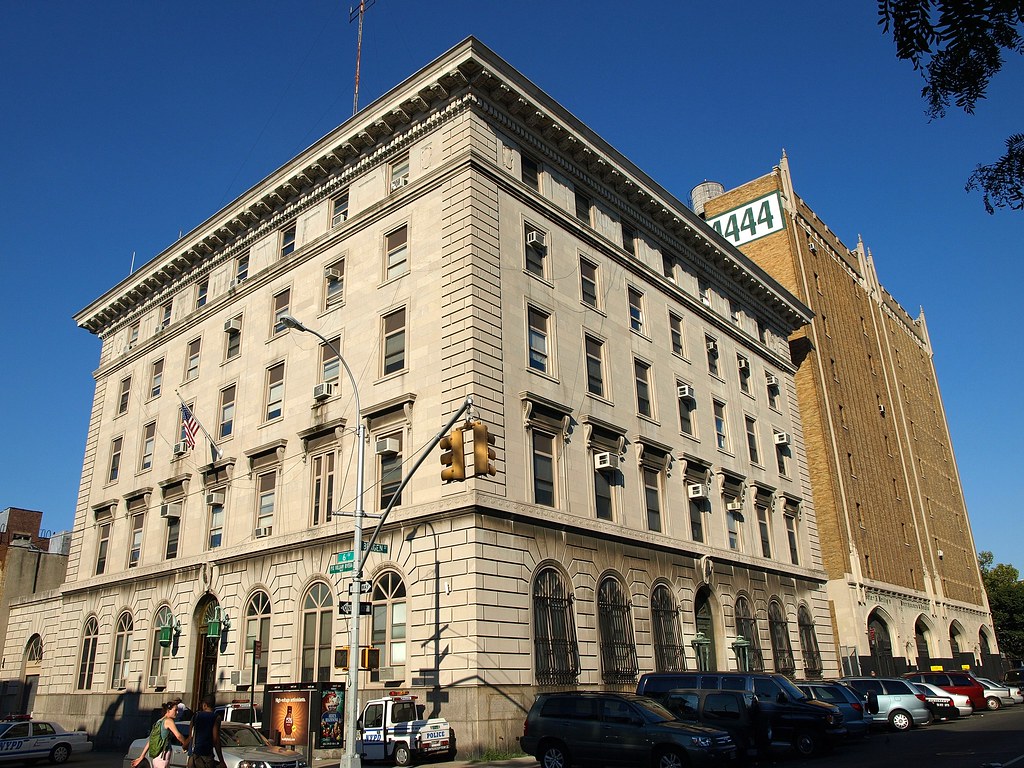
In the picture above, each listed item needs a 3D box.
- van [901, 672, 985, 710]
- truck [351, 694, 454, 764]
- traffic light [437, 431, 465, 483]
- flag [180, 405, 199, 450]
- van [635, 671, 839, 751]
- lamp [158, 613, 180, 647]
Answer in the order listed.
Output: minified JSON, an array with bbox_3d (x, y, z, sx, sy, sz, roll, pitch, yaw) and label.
[{"bbox_3d":[22.142,15.337,40.182,4.185,1.533,1.827,-2,-22,13],"label":"van"},{"bbox_3d":[-3.393,11.285,25.545,3.033,1.616,2.095,-15,-39,25],"label":"truck"},{"bbox_3d":[-1.584,1.819,20.988,0.604,1.826,1.343,3,-28,-5],"label":"traffic light"},{"bbox_3d":[-16.008,2.248,39.511,0.272,1.963,1.949,-1,-13,-30],"label":"flag"},{"bbox_3d":[7.573,10.459,26.072,5.201,1.796,2.727,-9,-23,17],"label":"van"},{"bbox_3d":[-16.381,11.690,37.886,0.667,1.627,1.729,19,-34,-32],"label":"lamp"}]
